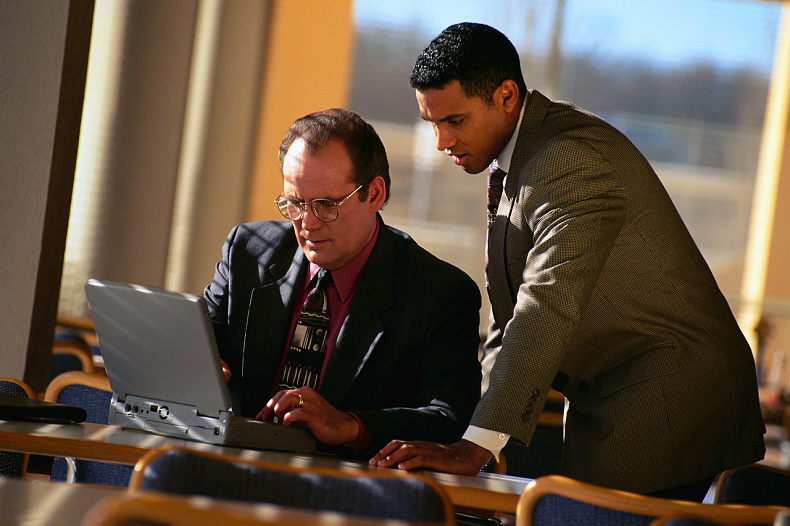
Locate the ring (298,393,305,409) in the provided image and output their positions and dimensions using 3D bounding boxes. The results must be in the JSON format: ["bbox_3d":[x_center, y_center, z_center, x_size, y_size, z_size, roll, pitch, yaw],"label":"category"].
[{"bbox_3d":[-0.257,0.375,2.146,0.021,0.025,0.027,1,-12,-1],"label":"ring"}]

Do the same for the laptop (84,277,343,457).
[{"bbox_3d":[-0.548,0.289,2.250,0.542,0.398,0.578,3,-7,45],"label":"laptop"}]

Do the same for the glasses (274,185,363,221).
[{"bbox_3d":[-0.228,-0.188,2.373,0.221,0.072,0.243,-1,-11,-24],"label":"glasses"}]

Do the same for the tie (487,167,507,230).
[{"bbox_3d":[0.300,-0.195,2.333,0.050,0.200,0.041,16,-13,-37],"label":"tie"}]
